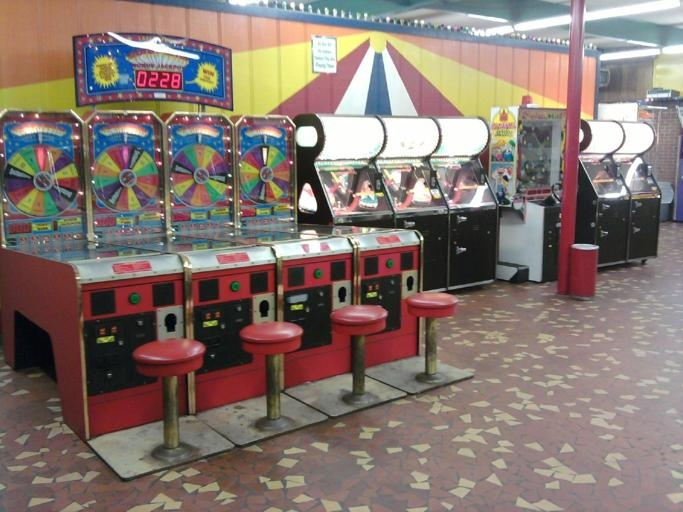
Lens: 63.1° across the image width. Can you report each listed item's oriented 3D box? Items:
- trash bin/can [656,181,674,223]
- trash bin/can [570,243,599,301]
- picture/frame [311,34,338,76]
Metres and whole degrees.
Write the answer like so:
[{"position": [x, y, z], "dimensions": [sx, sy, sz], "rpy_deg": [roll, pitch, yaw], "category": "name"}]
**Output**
[{"position": [8.230, -1.378, 14.154], "dimensions": [0.487, 0.987, 0.285], "rpy_deg": [-8, 17, -28], "category": "trash bin/can"}, {"position": [3.212, 0.205, 7.365], "dimensions": [0.352, 0.684, 0.364], "rpy_deg": [5, 16, 22], "category": "trash bin/can"}, {"position": [-0.243, -2.743, 7.542], "dimensions": [0.633, 0.577, 0.059], "rpy_deg": [-8, 10, -43], "category": "picture/frame"}]
